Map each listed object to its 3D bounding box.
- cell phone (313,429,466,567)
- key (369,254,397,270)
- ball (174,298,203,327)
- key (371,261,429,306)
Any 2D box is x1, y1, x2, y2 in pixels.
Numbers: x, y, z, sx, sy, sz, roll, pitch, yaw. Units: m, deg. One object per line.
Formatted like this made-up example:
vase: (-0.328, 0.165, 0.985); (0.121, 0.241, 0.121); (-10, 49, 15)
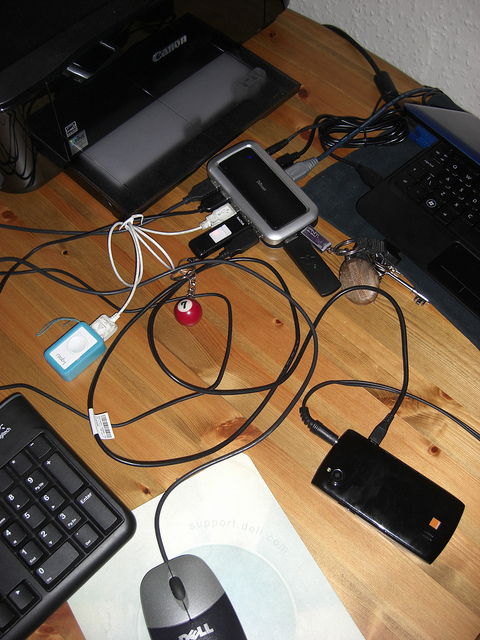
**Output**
cell phone: (0.143, 0.184, 0.566); (0.153, 0.045, 0.089); (35, 78, 12)
key: (0.174, -0.071, 0.657); (0.037, 0.003, 0.010); (30, 83, -7)
ball: (-0.060, -0.012, 0.626); (0.031, 0.035, 0.031); (-3, 12, 1)
key: (0.196, -0.045, 0.654); (0.063, 0.019, 0.017); (41, 93, 15)
